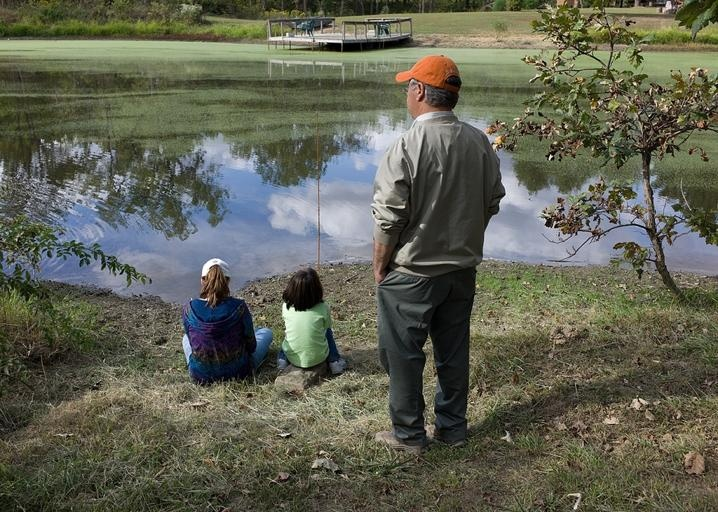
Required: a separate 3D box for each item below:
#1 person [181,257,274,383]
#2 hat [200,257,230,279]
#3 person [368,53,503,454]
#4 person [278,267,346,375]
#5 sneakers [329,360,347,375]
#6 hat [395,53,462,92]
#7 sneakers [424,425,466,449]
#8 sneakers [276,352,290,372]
[{"bbox_3d":[-1.551,0.620,7.820,0.988,1.396,1.118,4,18,13],"label":"person"},{"bbox_3d":[-1.315,0.130,6.581,0.229,0.199,0.332,-1,1,-11],"label":"hat"},{"bbox_3d":[0.613,0.015,6.156,0.972,3.355,0.498,-3,13,-2],"label":"person"},{"bbox_3d":[-0.544,0.705,7.808,0.746,1.187,0.667,1,10,7],"label":"person"},{"bbox_3d":[-0.215,1.202,7.702,0.086,0.098,0.222,4,12,27],"label":"sneakers"},{"bbox_3d":[0.599,-1.597,6.187,0.544,0.285,0.402,12,9,30],"label":"hat"},{"bbox_3d":[0.776,1.604,6.457,0.425,0.195,0.150,8,9,30],"label":"sneakers"},{"bbox_3d":[-0.802,1.134,7.651,0.088,0.138,0.162,27,30,-42],"label":"sneakers"}]
